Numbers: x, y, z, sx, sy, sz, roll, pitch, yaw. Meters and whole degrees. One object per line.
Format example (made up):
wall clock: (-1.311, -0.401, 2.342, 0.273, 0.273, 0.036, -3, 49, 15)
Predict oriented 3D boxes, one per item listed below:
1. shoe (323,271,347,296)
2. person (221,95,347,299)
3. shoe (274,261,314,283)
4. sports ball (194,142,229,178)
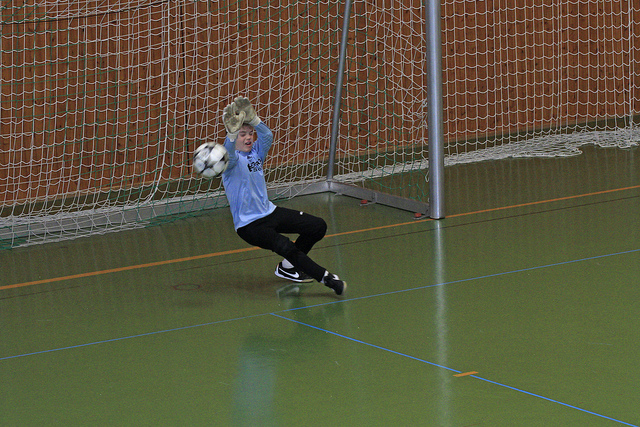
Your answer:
shoe: (0.077, 0.607, 6.686, 0.300, 0.110, 0.129, 40, 12, 28)
person: (-0.409, -0.128, 6.799, 0.840, 1.882, 0.586, -10, 7, -2)
shoe: (-0.259, 0.574, 7.198, 0.414, 0.163, 0.145, 13, 11, 3)
sports ball: (-0.889, -0.478, 6.566, 0.304, 0.265, 0.330, -6, 8, 1)
